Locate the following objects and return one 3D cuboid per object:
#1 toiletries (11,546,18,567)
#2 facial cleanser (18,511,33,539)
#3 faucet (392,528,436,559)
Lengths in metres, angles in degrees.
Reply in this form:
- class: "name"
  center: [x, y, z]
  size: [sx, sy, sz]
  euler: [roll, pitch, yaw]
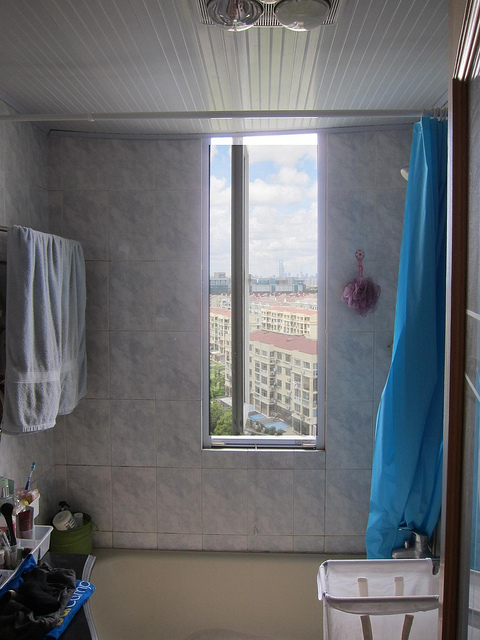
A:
- class: "toiletries"
  center: [-0.755, 0.782, 1.698]
  size: [0.021, 0.059, 0.033]
  euler: [-3, 6, -23]
- class: "facial cleanser"
  center: [-0.813, 0.763, 1.939]
  size: [0.063, 0.109, 0.050]
  euler: [-5, 7, -41]
- class: "faucet"
  center: [0.694, 0.889, 2.050]
  size: [0.152, 0.132, 0.117]
  euler: [3, 7, 32]
